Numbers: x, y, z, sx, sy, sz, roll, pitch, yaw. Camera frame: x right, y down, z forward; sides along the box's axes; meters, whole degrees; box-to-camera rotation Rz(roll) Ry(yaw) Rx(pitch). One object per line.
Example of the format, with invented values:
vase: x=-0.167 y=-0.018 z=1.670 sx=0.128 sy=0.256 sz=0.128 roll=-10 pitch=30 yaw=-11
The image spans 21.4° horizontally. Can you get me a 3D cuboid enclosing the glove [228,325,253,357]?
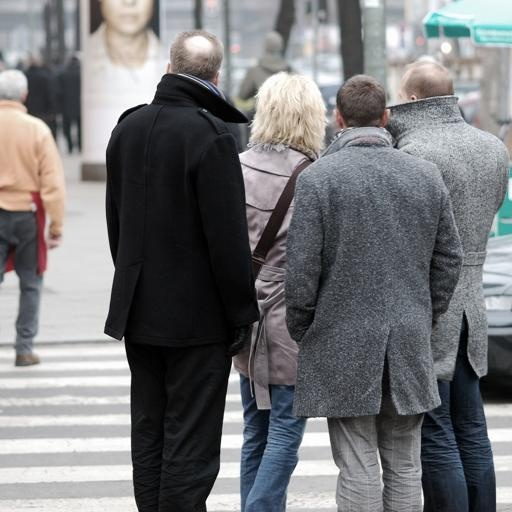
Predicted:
glove: x=-0.067 y=0.352 z=5.809 sx=0.035 sy=0.125 sz=0.095 roll=34 pitch=2 yaw=-13

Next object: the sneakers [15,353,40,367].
sneakers: x=-1.597 y=0.712 z=9.431 sx=0.188 sy=0.084 sz=0.068 roll=-3 pitch=6 yaw=-39
